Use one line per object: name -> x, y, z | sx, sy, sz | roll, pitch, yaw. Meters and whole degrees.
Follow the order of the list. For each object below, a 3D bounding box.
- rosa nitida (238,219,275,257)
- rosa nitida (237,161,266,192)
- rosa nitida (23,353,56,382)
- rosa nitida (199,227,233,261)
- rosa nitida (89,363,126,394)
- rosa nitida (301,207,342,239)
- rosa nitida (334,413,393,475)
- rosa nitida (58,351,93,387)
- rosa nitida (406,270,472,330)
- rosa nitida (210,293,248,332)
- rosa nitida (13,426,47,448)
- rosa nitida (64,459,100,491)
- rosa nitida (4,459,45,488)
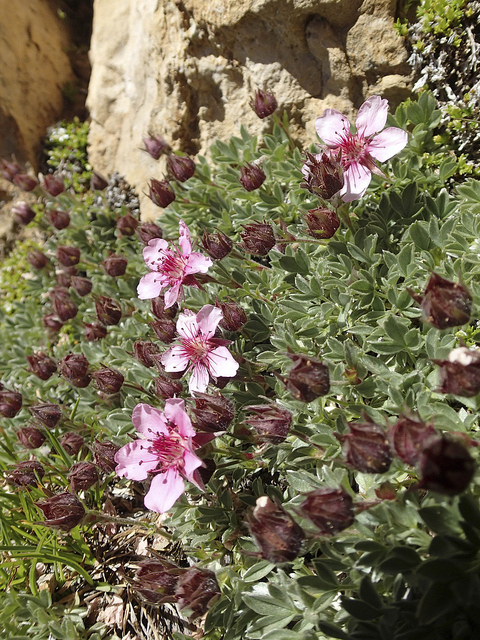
rosa nitida -> 0.082, -0.403, 2.890 | 0.179, 0.166, 0.133 | 0, 48, -3
rosa nitida -> 0.069, -0.846, 3.425 | 0.135, 0.213, 0.188 | -12, 53, 19
rosa nitida -> -1.359, 0.325, 4.011 | 0.145, 0.213, 0.132 | -13, 50, 43
rosa nitida -> -0.109, -0.379, 3.003 | 0.159, 0.140, 0.152 | 32, 31, 8
rosa nitida -> -0.693, 0.308, 3.099 | 0.124, 0.177, 0.076 | -67, 16, 1
rosa nitida -> 0.370, -0.402, 2.626 | 0.135, 0.242, 0.091 | -1, 59, 26
rosa nitida -> 0.376, 0.358, 1.808 | 0.139, 0.180, 0.185 | 4, 96, 24
rosa nitida -> -0.901, 0.275, 3.329 | 0.151, 0.201, 0.094 | -37, 28, 9
rosa nitida -> 0.627, -0.075, 1.819 | 0.151, 0.274, 0.185 | -10, 54, 20
rosa nitida -> -0.048, -0.021, 2.853 | 0.184, 0.159, 0.114 | 39, 83, 4
rosa nitida -> -1.185, 0.675, 3.388 | 0.162, 0.121, 0.123 | 6, 102, 17
rosa nitida -> -0.727, 0.753, 2.835 | 0.159, 0.139, 0.127 | -16, 69, 12
rosa nitida -> -1.145, 0.825, 3.178 | 0.200, 0.086, 0.149 | -13, 44, -33
